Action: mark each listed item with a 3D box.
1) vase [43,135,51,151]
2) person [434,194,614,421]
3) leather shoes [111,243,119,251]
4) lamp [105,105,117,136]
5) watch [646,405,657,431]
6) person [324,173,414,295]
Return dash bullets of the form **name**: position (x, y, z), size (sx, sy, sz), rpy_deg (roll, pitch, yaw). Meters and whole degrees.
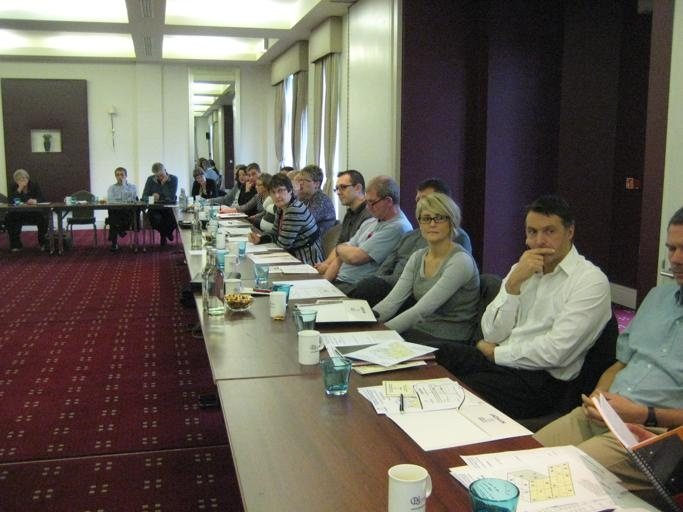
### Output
- **vase**: position (-6.120, -2.337, 11.239), size (0.155, 0.356, 0.103), rpy_deg (-5, 11, -29)
- **person**: position (0.905, 0.241, 2.966), size (1.069, 1.274, 0.699), rpy_deg (6, 4, -13)
- **leather shoes**: position (-3.744, -0.133, 8.856), size (0.093, 0.153, 0.153), rpy_deg (1, -4, -8)
- **lamp**: position (-4.833, -2.834, 11.429), size (0.189, 0.589, 0.182), rpy_deg (-4, 11, -25)
- **watch**: position (1.159, 0.605, 2.022), size (0.044, 0.067, 0.070), rpy_deg (0, 0, 6)
- **person**: position (0.170, 0.017, 4.480), size (0.671, 1.269, 0.520), rpy_deg (6, 17, -3)
